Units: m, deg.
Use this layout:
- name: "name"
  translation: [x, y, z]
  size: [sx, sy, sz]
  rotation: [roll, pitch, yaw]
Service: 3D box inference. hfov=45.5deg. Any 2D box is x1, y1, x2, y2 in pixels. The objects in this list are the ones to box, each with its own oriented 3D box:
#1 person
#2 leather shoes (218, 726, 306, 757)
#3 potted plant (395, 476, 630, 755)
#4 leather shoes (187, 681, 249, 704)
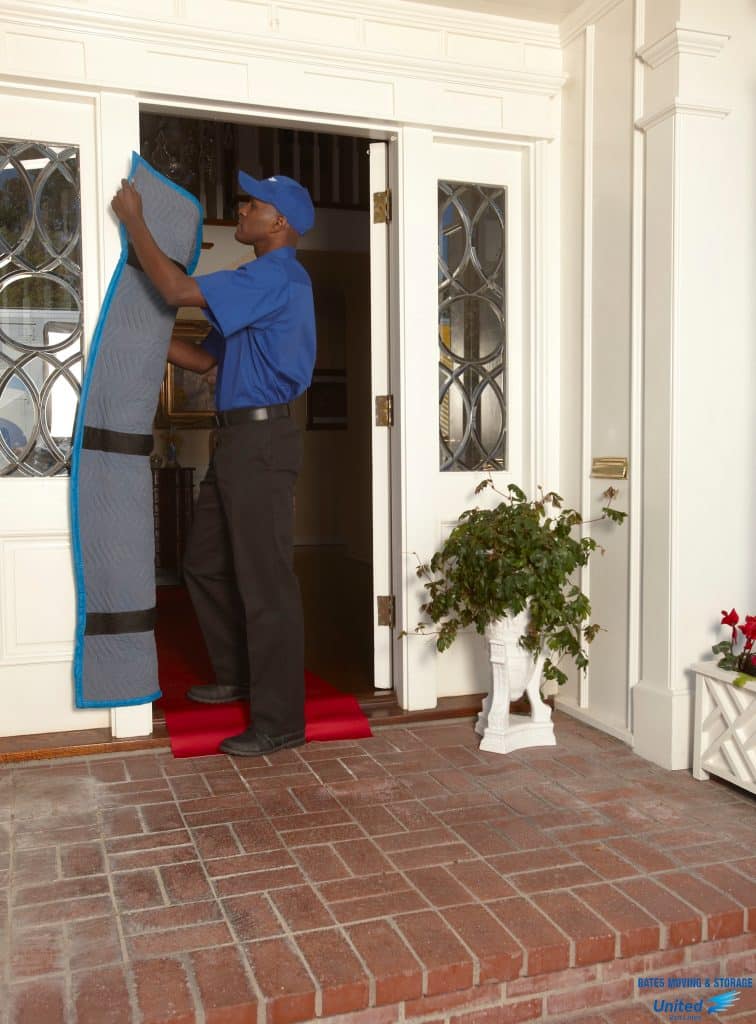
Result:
- name: "person"
  translation: [-0.463, -0.151, 2.790]
  size: [0.531, 1.760, 0.668]
  rotation: [0, 3, -4]
- name: "leather shoes"
  translation: [-0.355, 0.703, 2.768]
  size: [0.218, 0.099, 0.083]
  rotation: [4, 0, -26]
- name: "potted plant"
  translation: [0.346, 0.323, 3.178]
  size: [0.794, 1.014, 0.792]
  rotation: [-2, -4, 41]
- name: "leather shoes"
  translation: [-0.549, 0.613, 3.089]
  size: [0.192, 0.083, 0.074]
  rotation: [6, -3, -8]
